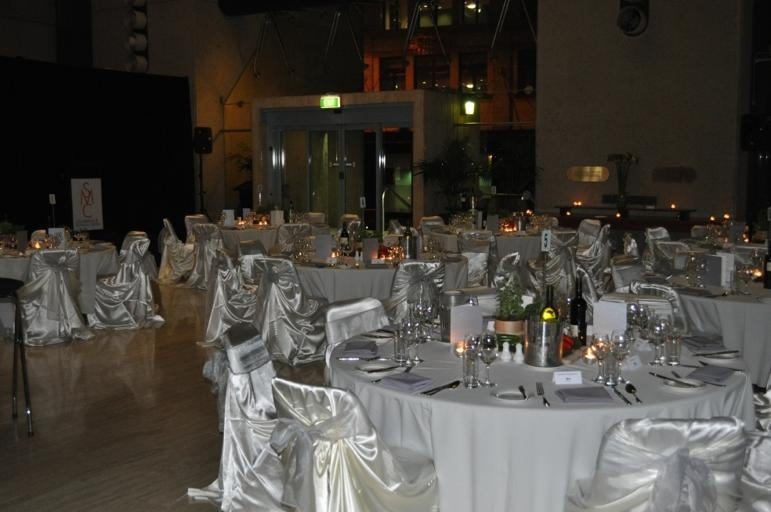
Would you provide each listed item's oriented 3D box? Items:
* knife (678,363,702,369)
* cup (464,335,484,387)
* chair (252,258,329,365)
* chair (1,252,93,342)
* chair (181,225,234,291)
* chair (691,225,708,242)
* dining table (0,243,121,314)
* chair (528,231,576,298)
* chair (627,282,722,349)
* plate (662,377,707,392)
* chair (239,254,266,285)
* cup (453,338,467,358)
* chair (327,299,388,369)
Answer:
[{"bbox_3d":[2.057,0.750,4.073,0.112,0.011,0.020,-1,29,-11],"label":"knife"},{"bbox_3d":[0.555,0.674,3.872,0.105,0.330,0.196,-1,3,8],"label":"cup"},{"bbox_3d":[-1.040,0.633,6.517,0.565,1.209,0.794,-7,15,-32],"label":"chair"},{"bbox_3d":[-4.145,0.526,7.502,0.734,1.173,0.360,-4,4,-36],"label":"chair"},{"bbox_3d":[-2.793,0.032,9.405,0.776,0.975,0.669,11,14,38],"label":"chair"},{"bbox_3d":[4.633,-0.326,8.879,0.265,0.230,0.286,3,10,26],"label":"chair"},{"bbox_3d":[-4.162,0.198,7.939,0.845,0.627,0.940,0,1,-2],"label":"dining table"},{"bbox_3d":[2.043,0.108,7.304,0.581,1.238,0.787,2,4,24],"label":"chair"},{"bbox_3d":[2.528,0.502,5.325,0.717,0.329,0.566,-1,5,-2],"label":"chair"},{"bbox_3d":[1.884,0.813,3.785,0.246,0.051,0.161,-2,2,17],"label":"plate"},{"bbox_3d":[-1.635,0.149,7.329,0.300,0.496,0.237,1,-2,-12],"label":"chair"},{"bbox_3d":[0.507,0.633,4.183,0.114,0.101,0.115,0,0,0],"label":"cup"},{"bbox_3d":[-0.272,0.619,5.048,0.437,0.707,0.533,-3,0,-17],"label":"chair"}]
